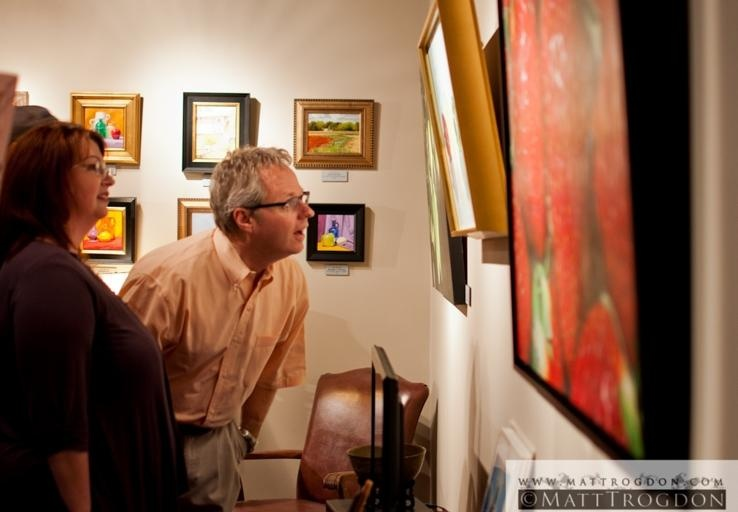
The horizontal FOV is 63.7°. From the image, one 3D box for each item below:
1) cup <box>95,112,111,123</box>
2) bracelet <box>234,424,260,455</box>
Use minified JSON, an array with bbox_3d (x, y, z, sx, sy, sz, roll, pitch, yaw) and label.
[{"bbox_3d":[-1.591,-0.838,3.566,0.072,0.075,0.043,3,2,-34],"label":"cup"},{"bbox_3d":[-0.561,0.848,2.761,0.092,0.118,0.125,0,-1,-8],"label":"bracelet"}]
